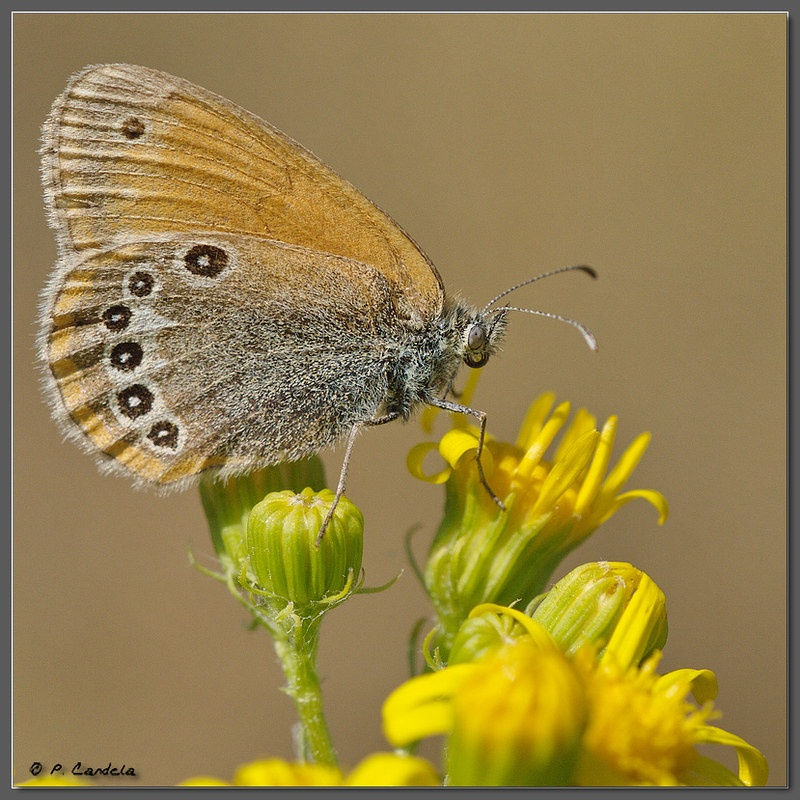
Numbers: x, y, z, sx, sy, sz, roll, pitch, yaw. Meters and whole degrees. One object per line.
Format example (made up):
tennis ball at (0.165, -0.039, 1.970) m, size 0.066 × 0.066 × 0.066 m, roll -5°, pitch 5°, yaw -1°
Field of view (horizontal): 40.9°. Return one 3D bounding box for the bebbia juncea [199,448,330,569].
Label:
bebbia juncea at (-0.480, 0.347, 3.438) m, size 0.410 × 0.298 × 0.347 m, roll 0°, pitch -12°, yaw -23°

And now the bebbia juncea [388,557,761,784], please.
bebbia juncea at (0.467, 0.737, 2.875) m, size 1.042 × 0.679 × 0.277 m, roll 17°, pitch -21°, yaw -12°

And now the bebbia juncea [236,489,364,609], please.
bebbia juncea at (-0.276, 0.400, 3.194) m, size 0.377 × 0.345 × 0.373 m, roll 3°, pitch -2°, yaw -40°
